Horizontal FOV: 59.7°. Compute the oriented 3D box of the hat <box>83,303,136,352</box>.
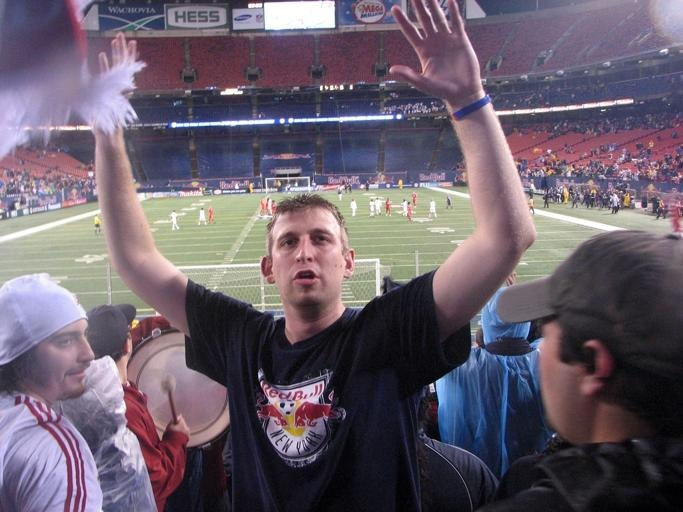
[{"bbox_3d":[-1.339,0.450,3.473,0.209,0.183,0.342,-5,34,6],"label":"hat"}]
